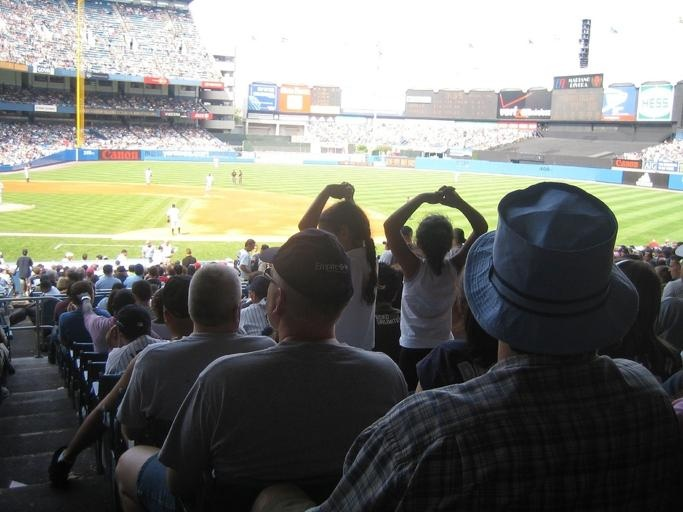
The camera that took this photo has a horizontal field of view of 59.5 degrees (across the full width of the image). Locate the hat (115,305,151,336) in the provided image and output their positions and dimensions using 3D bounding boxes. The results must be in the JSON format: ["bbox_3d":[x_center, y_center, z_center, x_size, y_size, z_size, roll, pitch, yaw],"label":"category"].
[{"bbox_3d":[-1.709,0.547,4.930,0.262,0.236,0.219,-2,11,-23],"label":"hat"}]

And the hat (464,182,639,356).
[{"bbox_3d":[0.673,0.057,1.913,0.498,0.301,0.583,7,49,16],"label":"hat"}]

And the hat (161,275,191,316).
[{"bbox_3d":[-1.139,0.289,4.145,0.181,0.263,0.333,-1,11,-15],"label":"hat"}]
